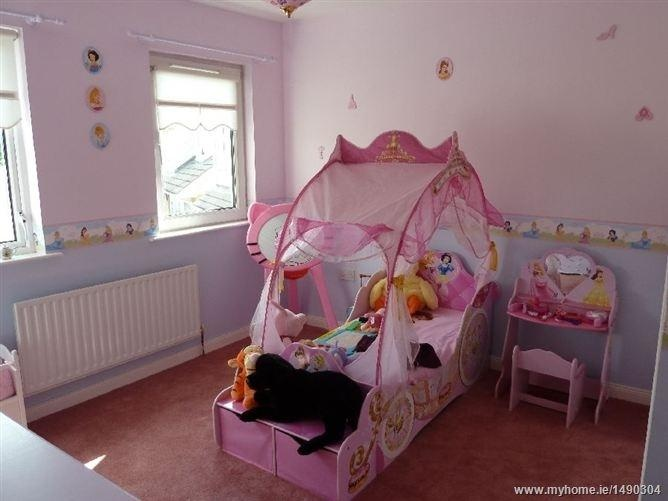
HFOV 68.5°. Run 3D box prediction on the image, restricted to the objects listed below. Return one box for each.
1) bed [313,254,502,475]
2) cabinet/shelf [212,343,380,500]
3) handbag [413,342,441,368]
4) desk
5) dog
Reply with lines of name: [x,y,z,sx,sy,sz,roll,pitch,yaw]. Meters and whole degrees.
bed: [0.412,0.708,4.047,1.043,1.142,2.095,9,15,34]
cabinet/shelf: [-0.200,1.088,3.367,1.109,0.792,0.775,9,10,36]
handbag: [0.688,0.794,3.643,0.171,0.191,0.042,9,-18,-30]
desk: [1.899,0.733,4.103,1.037,1.785,0.634,7,7,41]
dog: [-0.107,0.944,3.283,0.998,0.555,0.407,3,2,25]
